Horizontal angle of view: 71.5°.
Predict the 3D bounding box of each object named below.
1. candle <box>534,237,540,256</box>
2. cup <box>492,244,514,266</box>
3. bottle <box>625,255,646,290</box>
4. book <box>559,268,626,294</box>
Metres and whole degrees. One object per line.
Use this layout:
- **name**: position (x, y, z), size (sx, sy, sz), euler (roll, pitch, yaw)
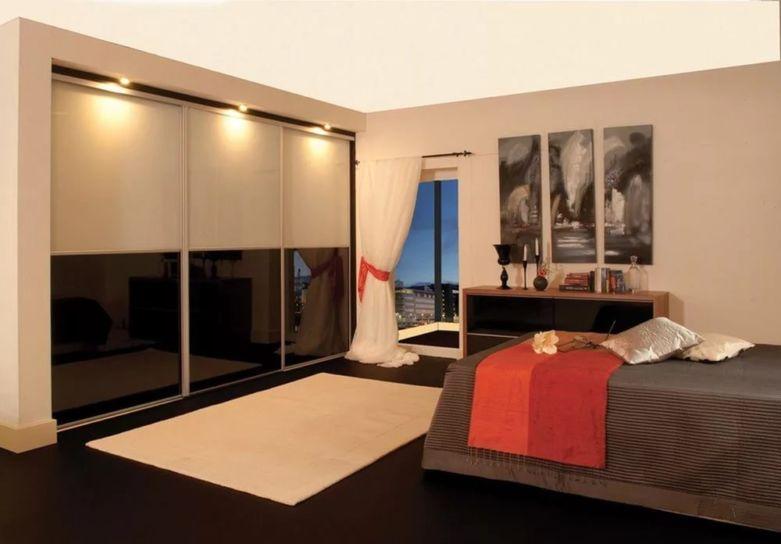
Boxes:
- **candle**: position (1.710, -0.291, 6.303), size (0.064, 0.217, 0.107), euler (1, 7, 14)
- **cup**: position (1.341, -0.193, 6.426), size (0.192, 0.274, 0.347), euler (1, 7, 13)
- **bottle**: position (2.671, 0.009, 5.879), size (0.206, 0.351, 0.103), euler (3, 8, 24)
- **book**: position (2.203, 0.086, 5.866), size (0.693, 0.241, 0.410), euler (2, 7, 24)
